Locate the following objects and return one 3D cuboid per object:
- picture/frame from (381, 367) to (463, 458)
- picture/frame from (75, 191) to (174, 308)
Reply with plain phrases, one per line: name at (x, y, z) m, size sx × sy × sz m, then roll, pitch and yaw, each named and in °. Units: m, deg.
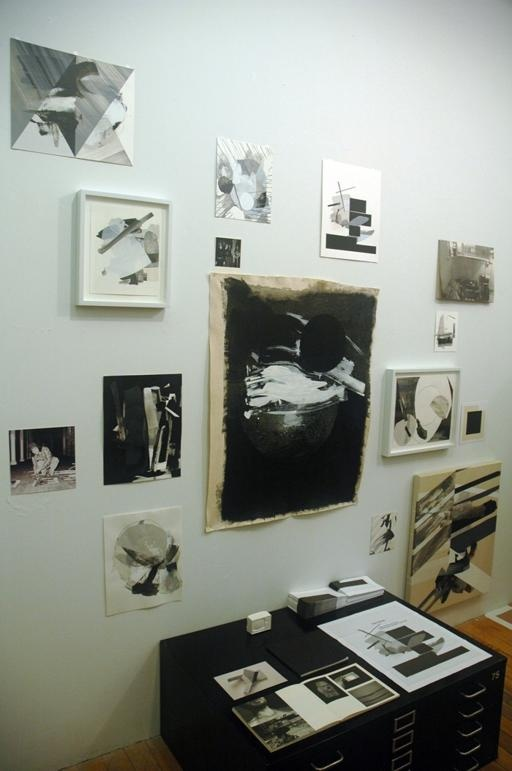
picture/frame at (0.634, 0.094, 2.316) m, size 0.342 × 0.318 × 0.042 m, roll -1°, pitch 7°, yaw -29°
picture/frame at (-0.353, -0.359, 1.584) m, size 0.287 × 0.365 × 0.023 m, roll -2°, pitch 5°, yaw -38°
